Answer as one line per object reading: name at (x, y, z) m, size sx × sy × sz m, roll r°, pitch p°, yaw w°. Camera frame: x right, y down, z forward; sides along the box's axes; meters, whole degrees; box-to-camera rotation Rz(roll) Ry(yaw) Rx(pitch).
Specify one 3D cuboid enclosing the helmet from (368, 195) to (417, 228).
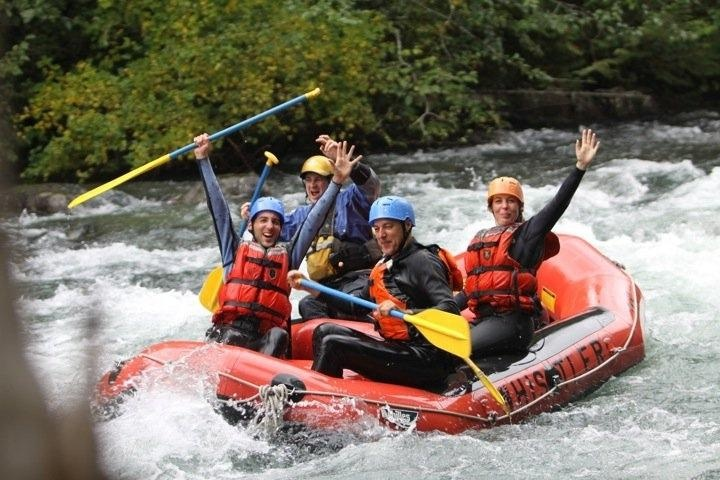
helmet at (0.314, -0.245, 6.768) m, size 0.252 × 0.191 × 0.332 m, roll 1°, pitch 7°, yaw 44°

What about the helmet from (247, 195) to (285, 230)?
helmet at (-0.873, -0.254, 7.276) m, size 0.312 × 0.232 × 0.225 m, roll -12°, pitch 19°, yaw 10°
